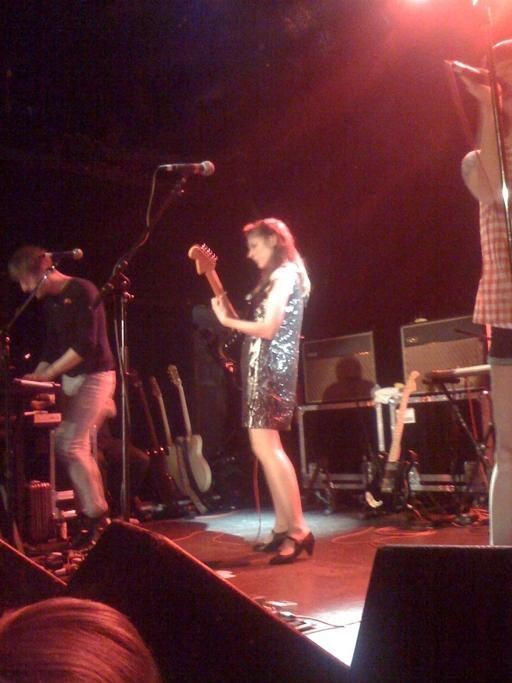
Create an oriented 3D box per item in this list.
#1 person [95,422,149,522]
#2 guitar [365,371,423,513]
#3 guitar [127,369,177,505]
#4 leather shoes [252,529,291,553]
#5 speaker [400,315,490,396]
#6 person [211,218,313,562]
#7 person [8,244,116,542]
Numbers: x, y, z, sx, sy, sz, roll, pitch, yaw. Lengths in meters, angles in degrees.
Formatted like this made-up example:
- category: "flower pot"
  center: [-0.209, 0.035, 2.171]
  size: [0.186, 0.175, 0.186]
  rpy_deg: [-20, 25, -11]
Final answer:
- category: "person"
  center: [-1.007, 0.908, 4.514]
  size: [0.177, 0.758, 0.381]
  rpy_deg: [-1, 1, -33]
- category: "guitar"
  center: [1.062, 0.807, 4.633]
  size: [0.131, 1.369, 0.475]
  rpy_deg: [20, -24, 0]
- category: "guitar"
  center: [-0.903, 0.866, 5.288]
  size: [0.127, 1.345, 0.477]
  rpy_deg: [3, -45, -31]
- category: "leather shoes"
  center: [0.078, 0.936, 2.854]
  size: [0.077, 0.084, 0.207]
  rpy_deg: [-27, -9, -40]
- category: "speaker"
  center: [1.510, 0.101, 4.942]
  size: [0.657, 0.627, 0.256]
  rpy_deg: [-7, 19, 7]
- category: "person"
  center: [0.055, 0.193, 2.748]
  size: [0.375, 1.597, 0.430]
  rpy_deg: [-4, -3, 25]
- category: "person"
  center: [-0.999, 0.247, 3.251]
  size: [0.559, 1.587, 0.728]
  rpy_deg: [-1, -3, -25]
